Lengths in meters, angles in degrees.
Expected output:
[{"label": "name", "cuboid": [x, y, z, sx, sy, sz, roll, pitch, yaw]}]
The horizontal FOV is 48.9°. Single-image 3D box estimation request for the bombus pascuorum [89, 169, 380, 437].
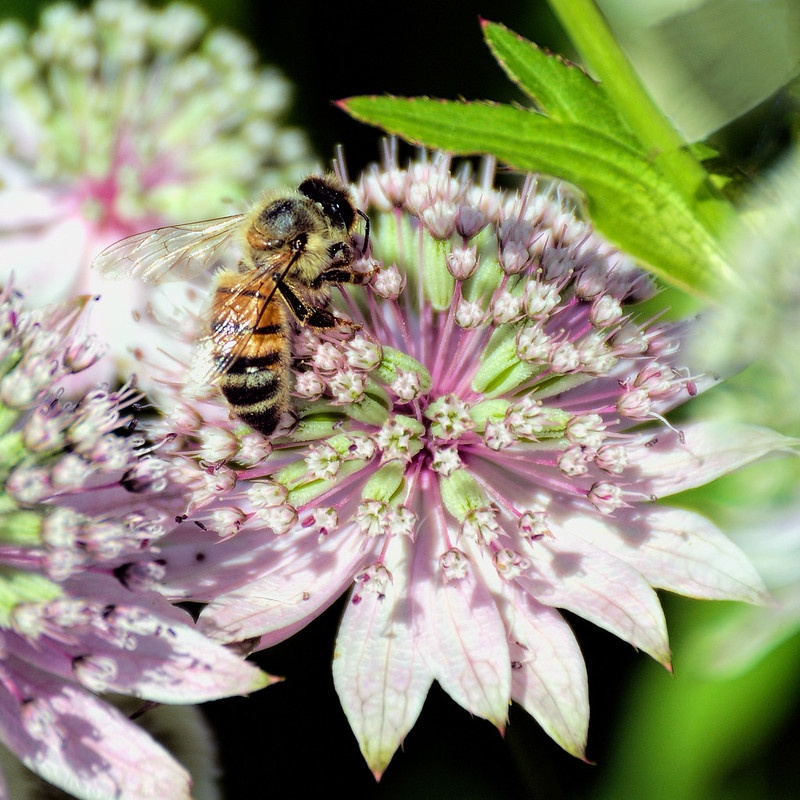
[{"label": "bombus pascuorum", "cuboid": [-0.151, -0.148, 1.244, 0.334, 0.131, 0.416, 21, 68, 32]}]
